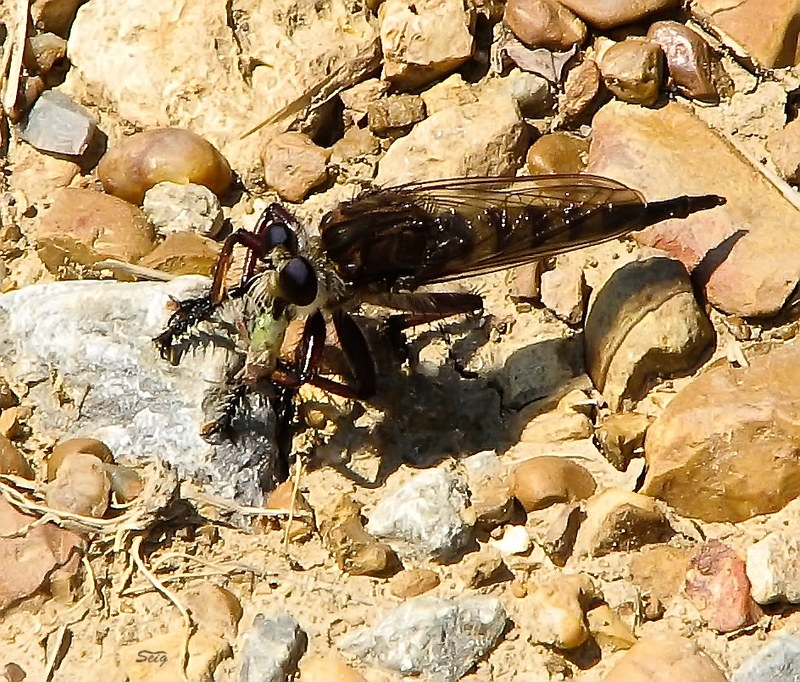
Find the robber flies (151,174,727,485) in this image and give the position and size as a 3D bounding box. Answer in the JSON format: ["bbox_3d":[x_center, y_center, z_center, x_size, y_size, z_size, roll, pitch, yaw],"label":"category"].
[{"bbox_3d":[-0.007,-0.256,4.523,1.702,0.529,0.631,-26,73,-15],"label":"robber flies"}]
